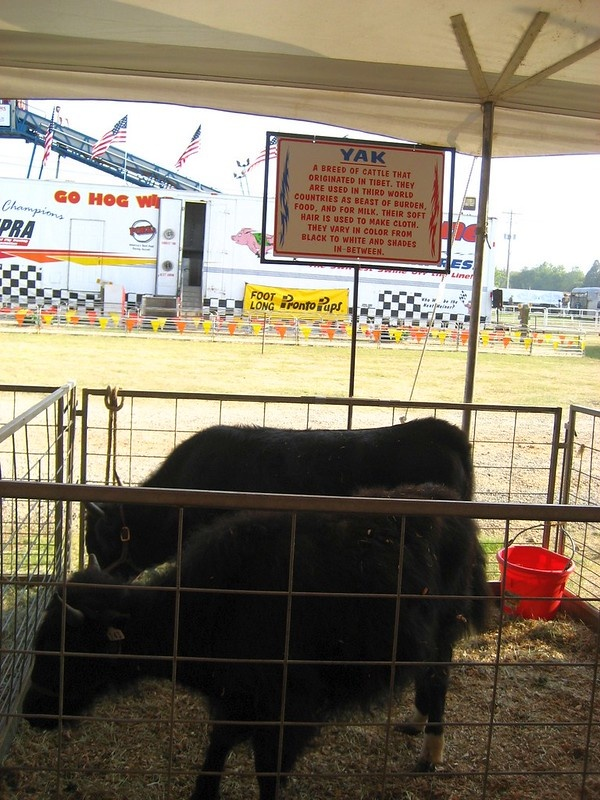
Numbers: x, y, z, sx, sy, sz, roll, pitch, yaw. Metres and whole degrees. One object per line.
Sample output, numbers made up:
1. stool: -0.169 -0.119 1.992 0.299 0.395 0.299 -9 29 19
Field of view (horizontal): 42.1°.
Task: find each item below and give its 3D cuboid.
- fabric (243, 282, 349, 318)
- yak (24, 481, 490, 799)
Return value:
1. fabric: -0.059 -1.949 15.735 2.091 0.652 0.798 4 5 1
2. yak: 0.169 0.716 2.739 2.110 1.092 0.655 -2 -2 -21
